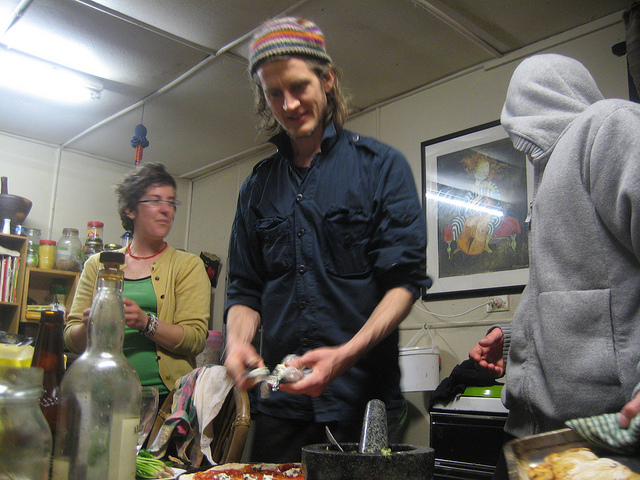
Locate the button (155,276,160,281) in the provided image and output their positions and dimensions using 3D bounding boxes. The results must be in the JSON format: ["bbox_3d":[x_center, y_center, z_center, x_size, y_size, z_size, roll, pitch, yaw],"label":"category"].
[{"bbox_3d":[-0.734,0.173,2.178,0.019,0.021,0.012,7,-7,-24],"label":"button"}]

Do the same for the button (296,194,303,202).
[{"bbox_3d":[-0.062,-0.126,1.441,0.020,0.022,0.005,4,-6,4],"label":"button"}]

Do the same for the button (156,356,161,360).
[{"bbox_3d":[-0.673,0.492,2.020,0.014,0.014,0.003,5,-6,-8],"label":"button"}]

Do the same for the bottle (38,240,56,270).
[{"bbox_3d":[-2.297,0.121,4.066,0.135,0.241,0.108,7,-7,-27],"label":"bottle"}]

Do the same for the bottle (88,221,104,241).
[{"bbox_3d":[-1.997,-0.065,4.396,0.157,0.170,0.159,2,-17,-12],"label":"bottle"}]

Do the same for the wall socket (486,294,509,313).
[{"bbox_3d":[1.125,0.401,3.050,0.016,0.083,0.113,7,-8,-42],"label":"wall socket"}]

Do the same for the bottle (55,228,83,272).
[{"bbox_3d":[-2.187,0.100,4.231,0.235,0.395,0.239,2,-4,0],"label":"bottle"}]

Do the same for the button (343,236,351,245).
[{"bbox_3d":[0.075,0.001,1.340,0.019,0.019,0.004,3,-6,13],"label":"button"}]

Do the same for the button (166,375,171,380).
[{"bbox_3d":[-0.633,0.573,2.013,0.014,0.015,0.017,7,-6,-15],"label":"button"}]

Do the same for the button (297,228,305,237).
[{"bbox_3d":[-0.055,-0.024,1.405,0.023,0.017,0.008,-16,-25,22],"label":"button"}]

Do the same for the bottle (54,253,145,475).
[{"bbox_3d":[-0.369,0.210,0.833,0.134,0.370,0.125,4,-6,0],"label":"bottle"}]

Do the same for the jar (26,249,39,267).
[{"bbox_3d":[-2.364,0.148,3.965,0.043,0.140,0.117,4,-7,5],"label":"jar"}]

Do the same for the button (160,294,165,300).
[{"bbox_3d":[-0.702,0.253,2.145,0.021,0.021,0.006,-2,-4,-16],"label":"button"}]

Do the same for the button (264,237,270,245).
[{"bbox_3d":[-0.162,0.003,1.473,0.015,0.021,0.007,-9,-1,32],"label":"button"}]

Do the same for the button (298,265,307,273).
[{"bbox_3d":[-0.050,0.082,1.382,0.026,0.022,0.006,1,-7,25],"label":"button"}]

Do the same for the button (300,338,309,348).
[{"bbox_3d":[-0.043,0.287,1.347,0.027,0.028,0.017,1,-6,-11],"label":"button"}]
